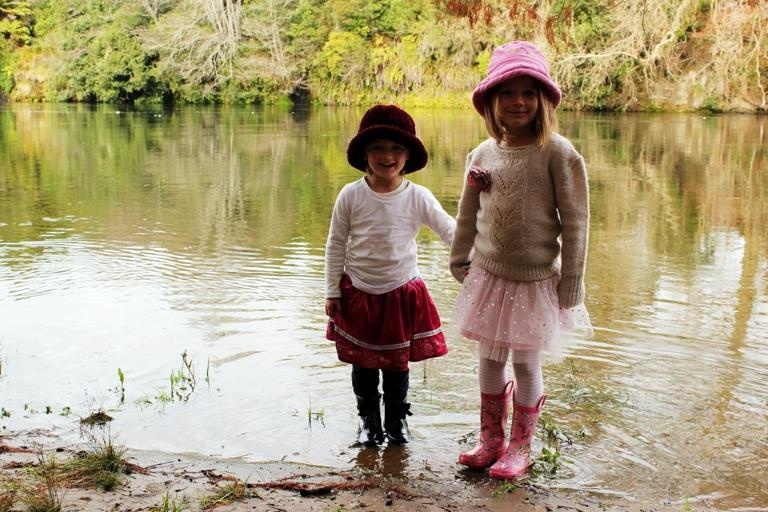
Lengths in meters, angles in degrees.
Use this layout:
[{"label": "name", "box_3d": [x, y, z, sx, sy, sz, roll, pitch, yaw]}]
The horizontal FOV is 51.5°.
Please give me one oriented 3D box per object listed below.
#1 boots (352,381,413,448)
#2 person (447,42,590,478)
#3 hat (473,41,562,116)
[{"label": "boots", "box_3d": [-0.042, 0.984, 4.825, 0.314, 0.297, 0.332, 3, -18, -16]}, {"label": "person", "box_3d": [0.775, 0.012, 4.545, 0.808, 2.440, 0.540, -1, 9, 6]}, {"label": "hat", "box_3d": [0.776, -1.007, 4.543, 0.383, 0.278, 0.480, -3, 0, 35]}]
